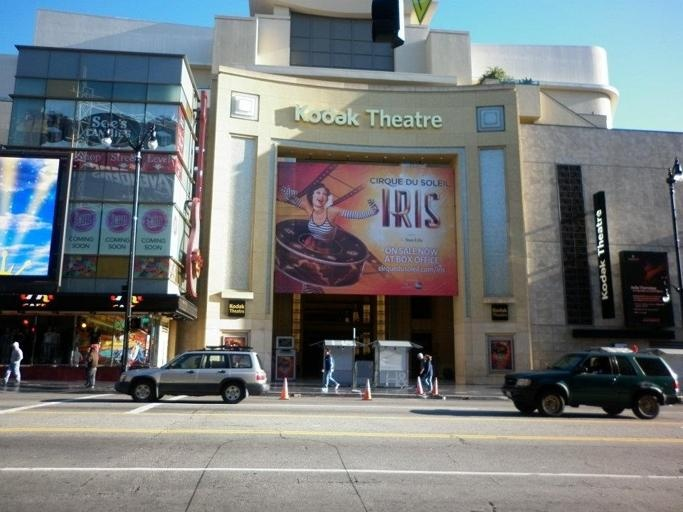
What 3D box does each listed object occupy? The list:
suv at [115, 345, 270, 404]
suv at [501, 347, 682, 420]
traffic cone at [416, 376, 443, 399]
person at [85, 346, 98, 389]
[{"bbox_3d":[-5.366,4.382,21.301,4.999,1.653,2.187,3,-12,-4],"label":"suv"},{"bbox_3d":[8.389,4.350,19.804,5.040,2.101,2.452,2,-15,1],"label":"suv"},{"bbox_3d":[4.157,6.378,27.035,1.080,0.615,0.978,0,-5,-1],"label":"traffic cone"},{"bbox_3d":[-11.509,5.076,26.671,0.435,1.934,1.181,3,-9,-24],"label":"person"}]
